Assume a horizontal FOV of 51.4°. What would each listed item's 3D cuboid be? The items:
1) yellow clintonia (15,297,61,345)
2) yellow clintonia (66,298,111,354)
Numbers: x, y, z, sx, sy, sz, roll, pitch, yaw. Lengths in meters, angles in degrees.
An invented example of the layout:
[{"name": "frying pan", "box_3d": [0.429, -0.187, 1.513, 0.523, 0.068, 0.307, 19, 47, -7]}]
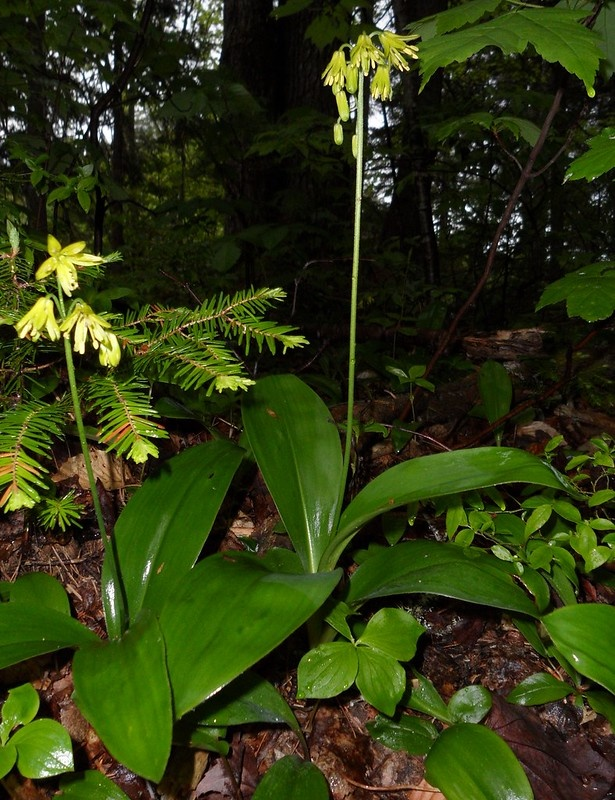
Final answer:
[{"name": "yellow clintonia", "box_3d": [-0.603, -0.173, 1.426, 0.124, 0.141, 0.072, 3, 10, -18]}, {"name": "yellow clintonia", "box_3d": [-0.513, -0.166, 1.434, 0.104, 0.110, 0.162, -9, 15, -43]}]
